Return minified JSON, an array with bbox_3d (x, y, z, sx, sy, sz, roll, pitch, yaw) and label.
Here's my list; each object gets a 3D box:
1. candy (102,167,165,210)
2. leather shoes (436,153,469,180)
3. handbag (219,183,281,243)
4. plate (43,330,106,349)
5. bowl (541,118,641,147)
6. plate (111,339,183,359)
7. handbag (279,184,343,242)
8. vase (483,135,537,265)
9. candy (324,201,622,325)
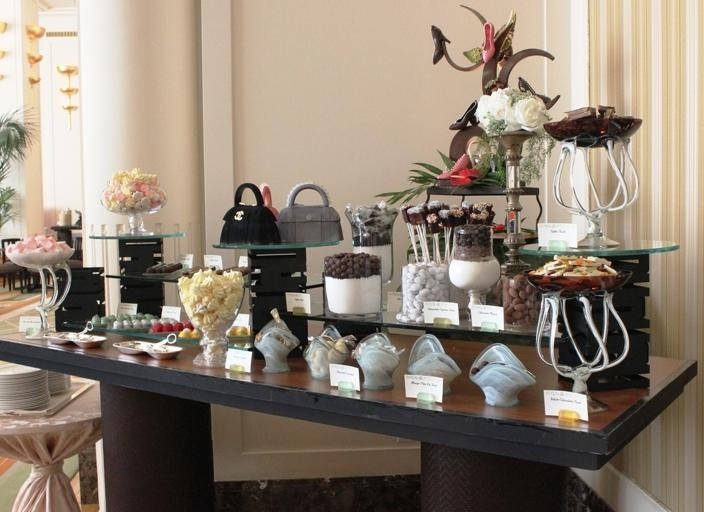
[{"bbox_3d":[-1.217,-0.363,3.473,0.332,0.236,0.195,-6,8,-20],"label":"candy"},{"bbox_3d":[0.524,-0.455,3.155,0.161,0.128,0.141,-4,8,-3],"label":"leather shoes"},{"bbox_3d":[-0.480,-0.144,2.857,0.284,0.180,0.124,-1,8,15],"label":"handbag"},{"bbox_3d":[-1.386,0.412,3.138,0.261,0.035,0.126,2,2,28],"label":"plate"},{"bbox_3d":[0.956,-0.493,2.473,0.342,0.111,0.161,-5,8,-12],"label":"bowl"},{"bbox_3d":[-0.960,0.435,2.945,0.280,0.039,0.127,2,4,30],"label":"plate"},{"bbox_3d":[-0.213,-0.229,3.240,0.401,0.338,0.173,-1,16,-4],"label":"handbag"},{"bbox_3d":[0.724,-0.247,2.753,0.159,0.591,0.332,-1,8,16],"label":"vase"},{"bbox_3d":[0.509,0.034,2.646,0.672,0.436,0.248,-2,-1,12],"label":"candy"}]
